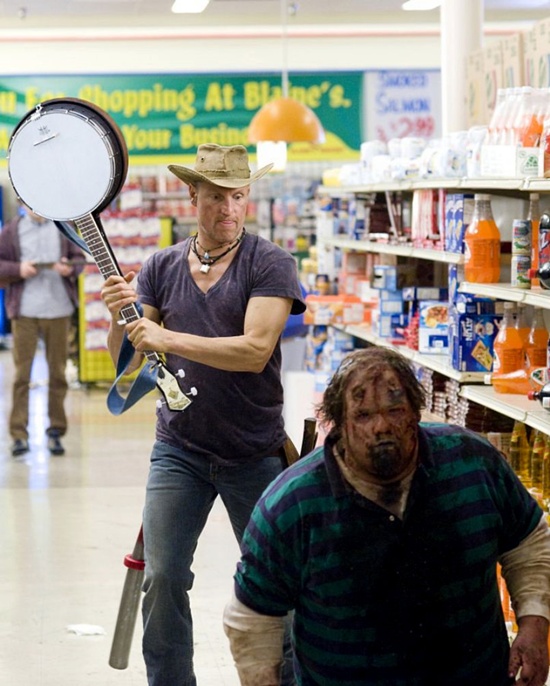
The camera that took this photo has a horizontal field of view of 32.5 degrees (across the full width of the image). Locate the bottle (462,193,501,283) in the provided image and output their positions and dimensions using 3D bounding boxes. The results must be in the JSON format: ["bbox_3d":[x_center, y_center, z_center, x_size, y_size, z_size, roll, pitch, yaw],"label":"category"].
[{"bbox_3d":[0.728,-0.360,3.316,0.117,0.306,0.126,1,7,0],"label":"bottle"}]

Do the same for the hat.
[{"bbox_3d":[-0.168,-0.469,2.608,0.197,0.070,0.178,1,-1,-13],"label":"hat"}]

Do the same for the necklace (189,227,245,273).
[{"bbox_3d":[-0.165,-0.249,2.603,0.115,0.133,0.024,22,1,39],"label":"necklace"}]

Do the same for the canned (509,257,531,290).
[{"bbox_3d":[0.770,-0.215,2.935,0.056,0.099,0.106,2,6,8],"label":"canned"}]

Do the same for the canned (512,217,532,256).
[{"bbox_3d":[0.784,-0.328,2.993,0.058,0.111,0.130,2,7,13],"label":"canned"}]

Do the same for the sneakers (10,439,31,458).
[{"bbox_3d":[-1.742,0.717,6.379,0.068,0.116,0.181,-4,-30,-4],"label":"sneakers"}]
